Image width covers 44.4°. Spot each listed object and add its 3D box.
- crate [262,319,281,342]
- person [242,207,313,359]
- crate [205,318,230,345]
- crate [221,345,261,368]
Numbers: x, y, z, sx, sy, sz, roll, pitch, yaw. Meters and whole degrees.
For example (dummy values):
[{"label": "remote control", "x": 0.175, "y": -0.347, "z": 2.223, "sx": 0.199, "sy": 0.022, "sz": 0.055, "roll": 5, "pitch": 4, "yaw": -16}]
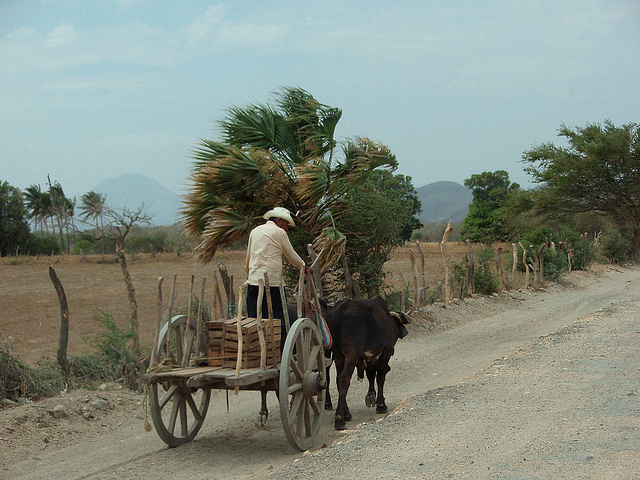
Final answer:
[{"label": "crate", "x": -0.826, "y": 1.596, "z": 13.826, "sx": 0.431, "sy": 0.457, "sz": 0.297, "roll": -3, "pitch": 4, "yaw": -41}, {"label": "person", "x": -0.872, "y": 0.731, "z": 14.270, "sx": 0.957, "sy": 2.543, "sz": 0.871, "roll": -3, "pitch": 6, "yaw": -7}, {"label": "crate", "x": -1.827, "y": 1.637, "z": 13.869, "sx": 0.313, "sy": 0.404, "sz": 0.593, "roll": 0, "pitch": -5, "yaw": 6}, {"label": "crate", "x": -1.368, "y": 2.063, "z": 13.599, "sx": 0.418, "sy": 0.292, "sz": 0.448, "roll": -2, "pitch": -3, "yaw": 14}]
